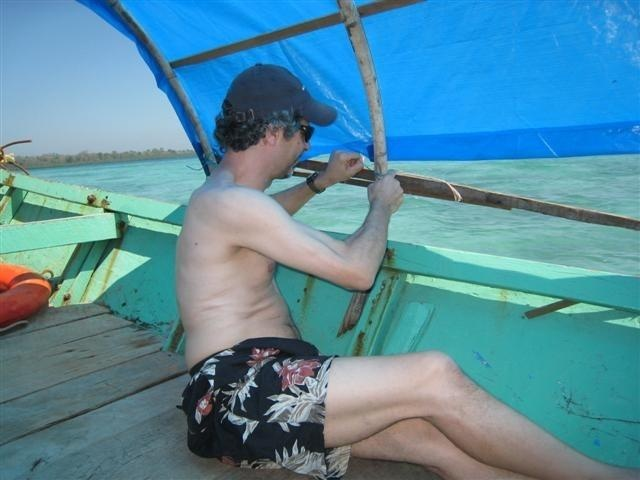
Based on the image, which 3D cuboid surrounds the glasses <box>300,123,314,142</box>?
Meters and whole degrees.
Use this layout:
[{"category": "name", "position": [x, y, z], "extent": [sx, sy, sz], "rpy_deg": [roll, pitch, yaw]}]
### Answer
[{"category": "glasses", "position": [-0.060, -0.543, 2.007], "extent": [0.034, 0.080, 0.078], "rpy_deg": [-49, 0, -5]}]

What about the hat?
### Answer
[{"category": "hat", "position": [-0.208, -0.736, 2.015], "extent": [0.606, 0.274, 0.356], "rpy_deg": [-1, 32, -3]}]
